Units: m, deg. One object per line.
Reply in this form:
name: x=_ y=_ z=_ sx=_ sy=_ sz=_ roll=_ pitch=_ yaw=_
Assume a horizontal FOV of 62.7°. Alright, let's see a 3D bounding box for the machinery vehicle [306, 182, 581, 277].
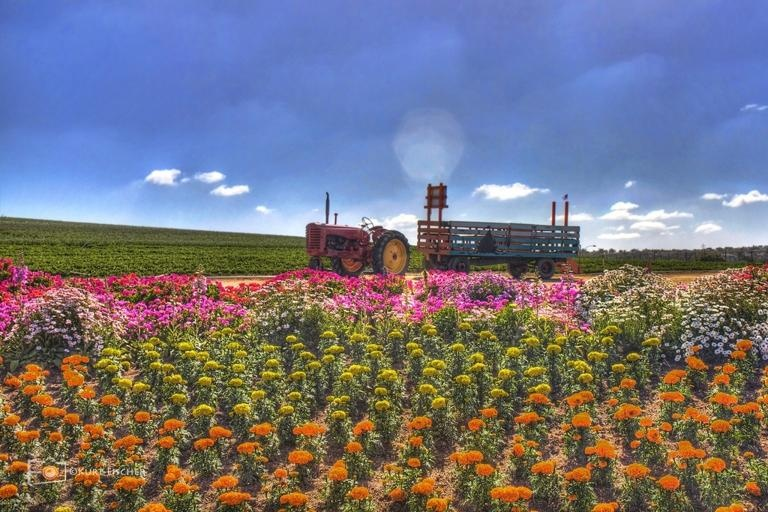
machinery vehicle: x=1.679 y=-0.268 z=17.842 sx=8.220 sy=3.665 sz=2.232 roll=3 pitch=-2 yaw=-30
